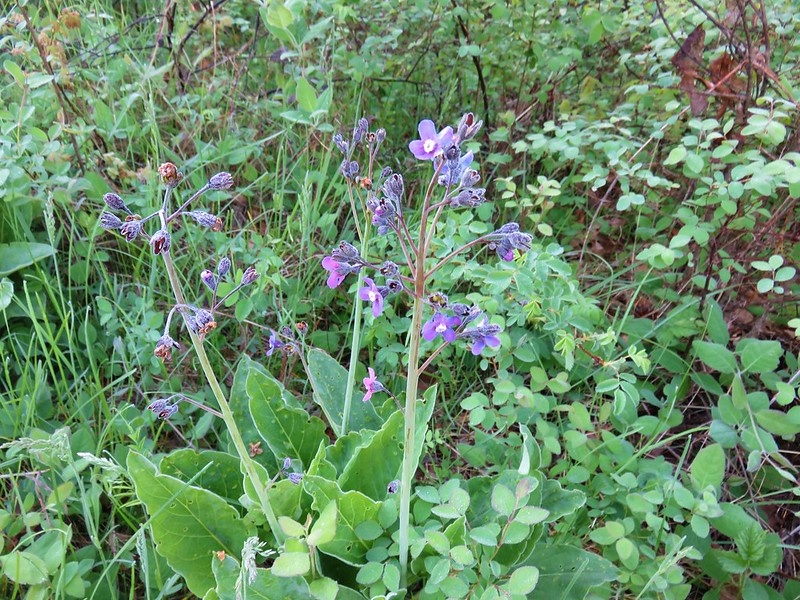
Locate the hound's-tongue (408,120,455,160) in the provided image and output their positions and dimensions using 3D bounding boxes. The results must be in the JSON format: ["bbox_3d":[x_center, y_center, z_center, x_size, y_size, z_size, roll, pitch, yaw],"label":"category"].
[{"bbox_3d":[0.153,-0.744,3.039,0.189,0.203,0.292,13,24,2],"label":"hound's-tongue"}]

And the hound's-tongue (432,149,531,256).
[{"bbox_3d":[0.360,-0.455,3.058,0.469,0.492,0.452,-2,27,-29],"label":"hound's-tongue"}]
